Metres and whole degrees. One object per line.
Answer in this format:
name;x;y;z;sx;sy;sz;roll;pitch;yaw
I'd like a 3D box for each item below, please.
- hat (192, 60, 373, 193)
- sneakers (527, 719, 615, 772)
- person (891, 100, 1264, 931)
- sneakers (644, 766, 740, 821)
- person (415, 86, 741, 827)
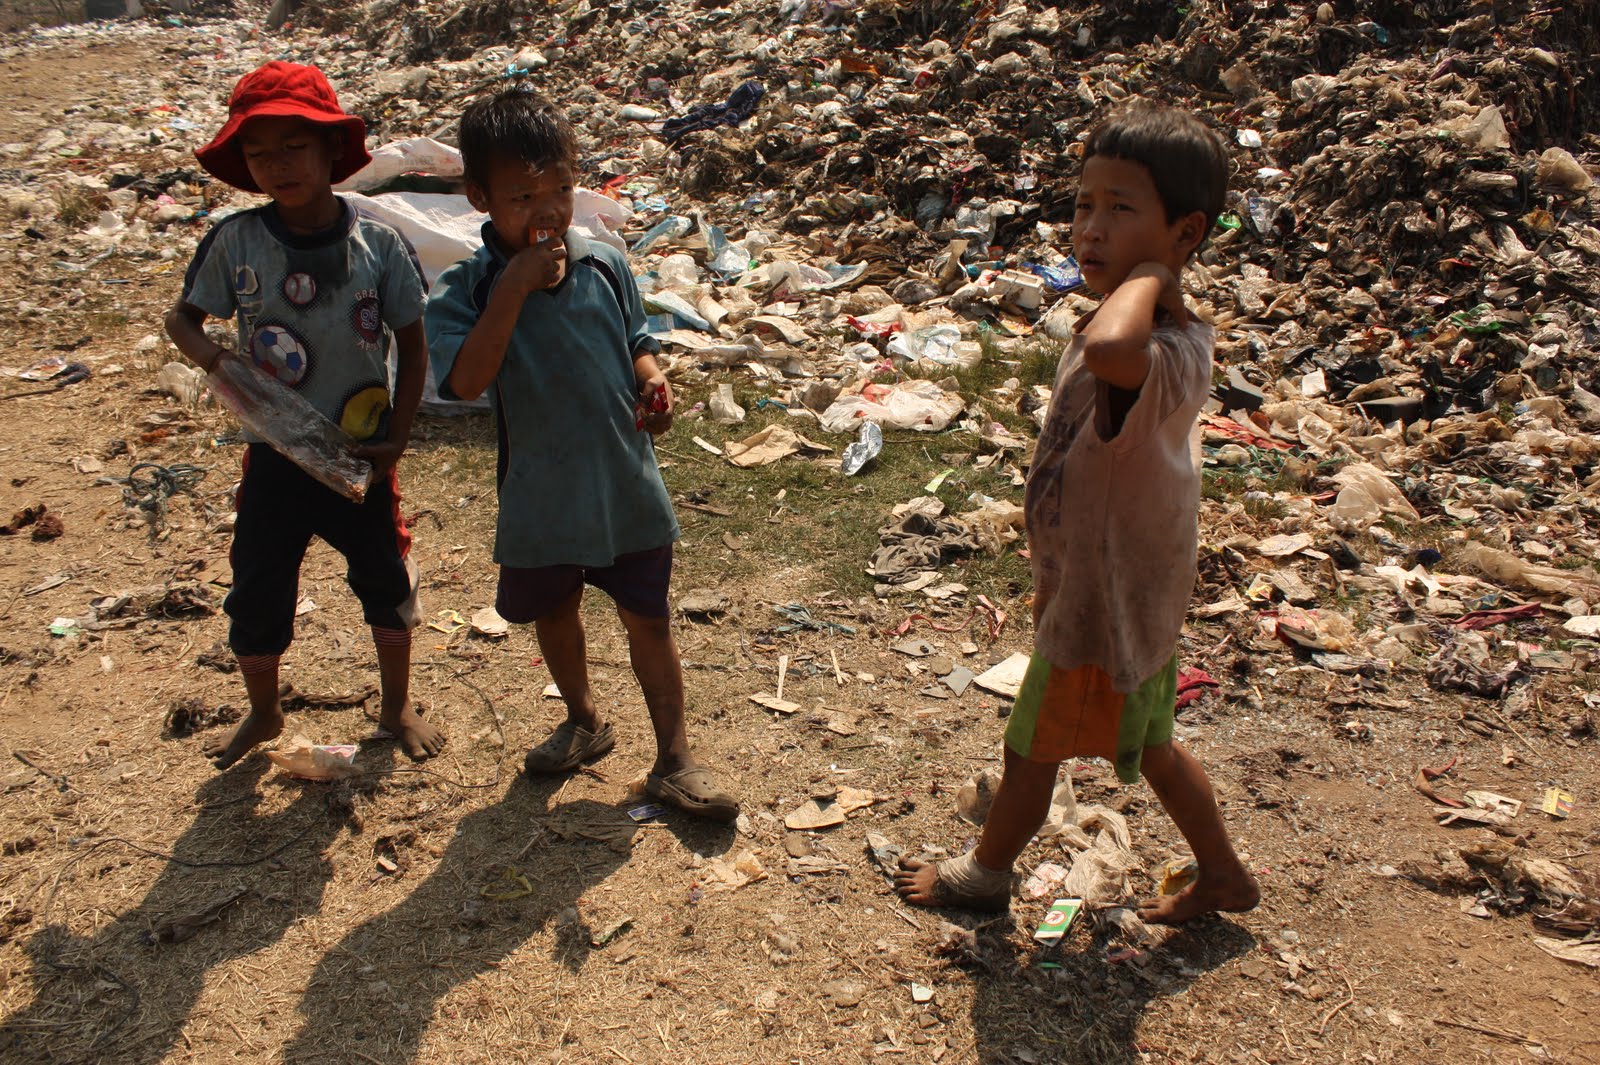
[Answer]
hat;-1.883;-1.523;4.412;0.561;0.262;0.464;-10;5;-24
sneakers;-0.908;0.841;4.888;0.329;0.140;0.165;-15;19;-36
person;1.060;0.049;4.071;1.085;2.737;0.711;9;26;7
sneakers;-0.416;0.998;4.703;0.359;0.135;0.182;11;16;28
person;-0.782;-0.253;4.503;1.080;2.539;0.602;12;26;14
